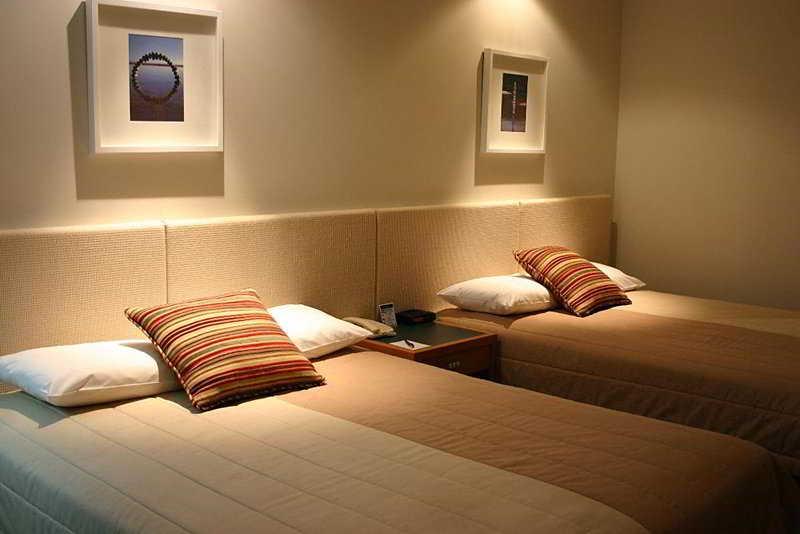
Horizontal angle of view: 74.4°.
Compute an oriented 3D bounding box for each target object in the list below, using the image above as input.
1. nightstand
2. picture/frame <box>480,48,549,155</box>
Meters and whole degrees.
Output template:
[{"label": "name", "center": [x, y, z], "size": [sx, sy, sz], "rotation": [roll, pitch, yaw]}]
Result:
[{"label": "nightstand", "center": [0.248, 0.482, 3.165], "size": [0.480, 0.343, 0.488], "rotation": [15, 20, 42]}, {"label": "picture/frame", "center": [0.897, -1.291, 4.147], "size": [0.762, 0.760, 0.167], "rotation": [-8, 17, -35]}]
